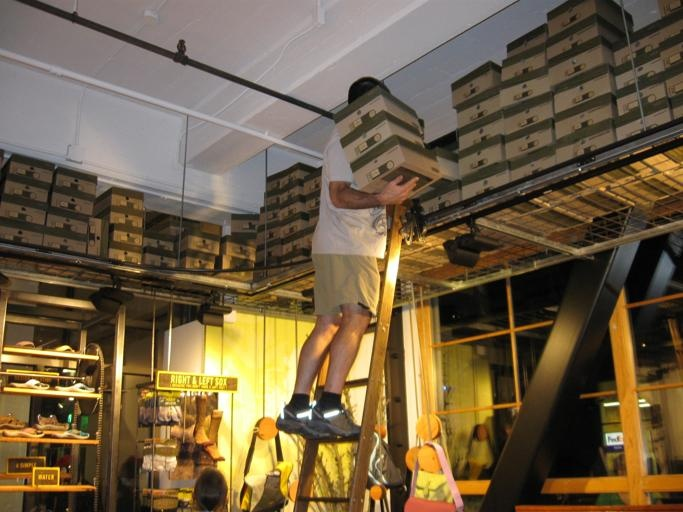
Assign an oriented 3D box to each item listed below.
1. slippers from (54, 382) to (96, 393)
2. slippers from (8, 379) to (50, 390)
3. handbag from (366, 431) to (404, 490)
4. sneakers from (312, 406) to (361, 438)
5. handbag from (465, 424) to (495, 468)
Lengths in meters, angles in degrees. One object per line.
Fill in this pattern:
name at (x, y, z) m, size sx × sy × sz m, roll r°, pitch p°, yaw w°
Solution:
slippers at (-2.653, 1.338, 5.944) m, size 0.403 × 0.117 × 0.140 m, roll 6°, pitch -21°, yaw -23°
slippers at (-2.991, 1.248, 5.712) m, size 0.242 × 0.076 × 0.127 m, roll 2°, pitch -5°, yaw -27°
handbag at (0.496, 2.270, 6.644) m, size 0.486 × 0.622 × 0.556 m, roll -17°, pitch -26°, yaw 31°
sneakers at (-0.033, 0.888, 3.150) m, size 0.261 × 0.162 × 0.177 m, roll 0°, pitch -18°, yaw 1°
handbag at (1.564, 2.106, 6.553) m, size 0.357 × 0.431 × 0.249 m, roll -2°, pitch -10°, yaw -21°
